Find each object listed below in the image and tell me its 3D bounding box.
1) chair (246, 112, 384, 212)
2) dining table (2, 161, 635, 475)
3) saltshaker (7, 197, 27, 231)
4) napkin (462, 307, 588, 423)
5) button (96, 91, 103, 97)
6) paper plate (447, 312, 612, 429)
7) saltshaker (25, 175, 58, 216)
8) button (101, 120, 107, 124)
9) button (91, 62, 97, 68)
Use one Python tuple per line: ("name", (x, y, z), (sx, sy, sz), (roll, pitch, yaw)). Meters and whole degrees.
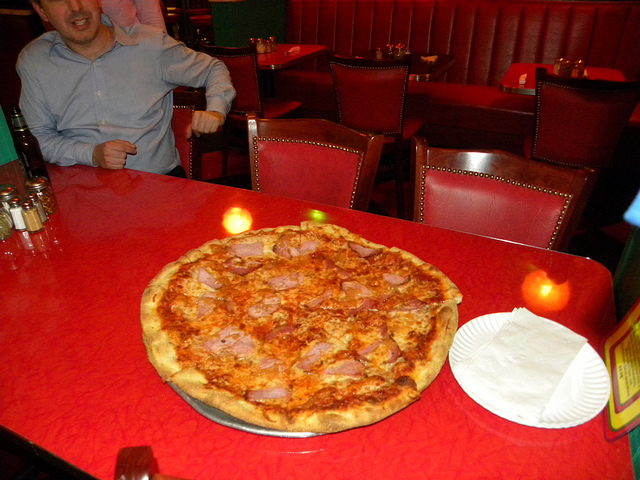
("chair", (-0.045, -0.314, 1.772), (0.538, 0.282, 0.202), (13, 40, 20))
("dining table", (-0.008, 0.191, 1.063), (1.203, 0.288, 0.622), (17, 56, 17))
("saltshaker", (-0.910, -0.079, 1.376), (0.041, 0.086, 0.069), (-24, 42, -26))
("napkin", (0.417, 0.246, 0.940), (0.149, 0.038, 0.231), (26, 47, 34))
("button", (-1.035, -0.687, 2.135), (0.027, 0.026, 0.006), (6, 4, -5))
("paper plate", (0.412, 0.270, 0.943), (0.299, 0.058, 0.260), (27, 45, 34))
("saltshaker", (-0.901, -0.147, 1.476), (0.066, 0.112, 0.145), (-24, 42, -26))
("button", (-1.027, -0.564, 2.175), (0.022, 0.016, 0.014), (-17, 39, -19))
("button", (-1.039, -0.808, 2.096), (0.026, 0.023, 0.006), (-2, 4, -11))
